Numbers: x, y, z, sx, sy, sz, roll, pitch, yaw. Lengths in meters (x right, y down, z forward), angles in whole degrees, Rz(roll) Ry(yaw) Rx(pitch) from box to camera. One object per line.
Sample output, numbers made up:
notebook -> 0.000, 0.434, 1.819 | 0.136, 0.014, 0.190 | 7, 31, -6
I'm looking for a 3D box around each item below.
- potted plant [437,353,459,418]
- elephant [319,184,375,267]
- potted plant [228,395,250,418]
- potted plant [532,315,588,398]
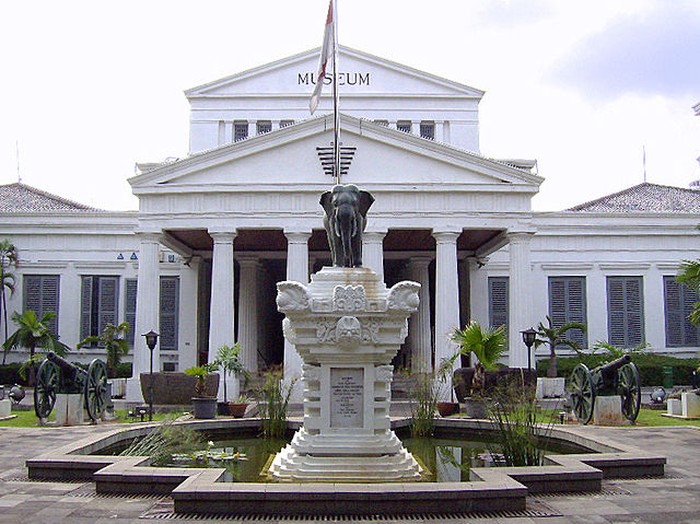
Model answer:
potted plant -> 3.115, 3.873, 23.766 | 0.904, 1.978, 0.891 | -3, -6, 35
elephant -> -0.061, -0.754, 15.082 | 0.757, 1.826, 0.745 | 5, -10, -38
potted plant -> -3.370, 4.278, 22.011 | 0.549, 0.421, 0.562 | 0, -5, 25
potted plant -> 8.943, 4.039, 31.628 | 2.381, 2.808, 2.381 | 6, -13, -14
